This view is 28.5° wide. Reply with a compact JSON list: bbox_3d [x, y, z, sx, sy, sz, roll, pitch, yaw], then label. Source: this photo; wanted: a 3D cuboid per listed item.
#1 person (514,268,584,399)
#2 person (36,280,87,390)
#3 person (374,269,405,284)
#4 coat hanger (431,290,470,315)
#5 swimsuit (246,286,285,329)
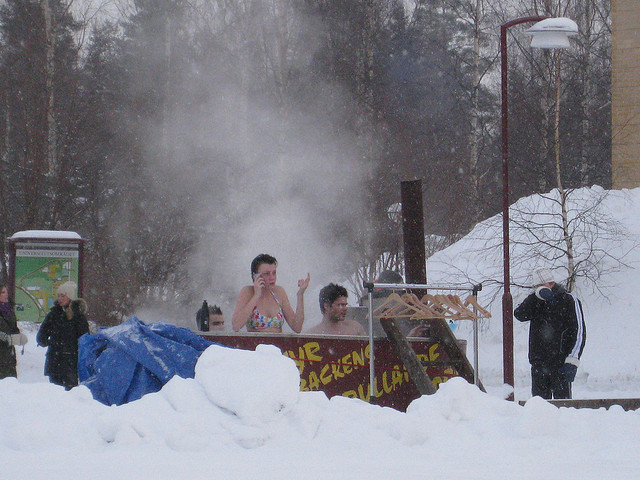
[{"bbox_3d":[4.507,1.967,24.519,1.187,2.208,0.440,-1,-2,39],"label":"person"},{"bbox_3d":[-5.201,2.161,25.479,0.941,2.939,0.812,-1,21,-20],"label":"person"},{"bbox_3d":[1.525,0.822,27.726,0.467,0.252,0.971,0,-2,0],"label":"person"},{"bbox_3d":[2.435,1.226,23.807,0.711,0.377,0.340,-1,-1,5],"label":"coat hanger"},{"bbox_3d":[-1.076,1.324,24.200,0.718,0.783,0.270,0,-1,-3],"label":"swimsuit"}]
